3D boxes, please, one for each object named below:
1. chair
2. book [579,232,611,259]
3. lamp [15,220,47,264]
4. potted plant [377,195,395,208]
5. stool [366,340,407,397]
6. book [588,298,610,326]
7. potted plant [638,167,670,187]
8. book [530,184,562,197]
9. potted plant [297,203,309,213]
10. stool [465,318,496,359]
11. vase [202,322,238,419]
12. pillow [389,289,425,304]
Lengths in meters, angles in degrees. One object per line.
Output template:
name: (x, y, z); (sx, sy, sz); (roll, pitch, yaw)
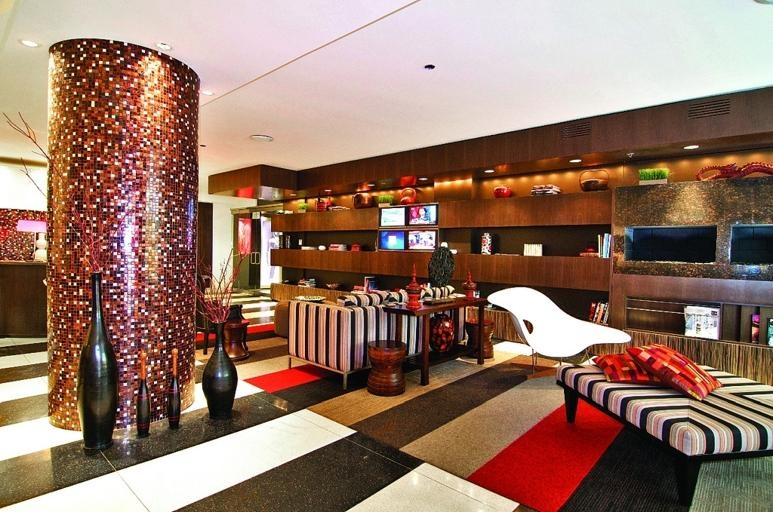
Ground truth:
chair: (2.160, 0.868, 6.470); (1.587, 0.637, 1.028); (5, 13, 37)
book: (3.102, -0.182, 7.531); (0.332, 0.368, 0.457); (2, 13, 3)
lamp: (-6.184, -0.310, 8.947); (0.376, 0.726, 1.991); (-8, 16, -34)
potted plant: (0.004, -1.078, 10.223); (0.314, 0.315, 0.255); (3, 4, 40)
stool: (0.126, 1.331, 6.083); (0.558, 0.575, 0.546); (1, -2, 10)
book: (3.117, 0.812, 7.610); (0.280, 0.442, 0.477); (5, -5, 6)
potted plant: (3.755, -1.076, 7.132); (0.333, 0.189, 0.299); (0, 0, 44)
book: (2.538, -1.049, 8.027); (0.446, 0.176, 0.530); (5, 13, 16)
potted plant: (-1.926, -1.103, 11.747); (0.201, 0.319, 0.350); (-3, 5, -45)
stool: (1.322, 1.148, 7.243); (0.533, 0.544, 0.510); (0, -1, -9)
vase: (-1.715, 1.158, 5.237); (0.329, 0.976, 0.294); (-4, 15, -22)
pillow: (0.210, 0.513, 6.705); (0.271, 0.096, 0.278); (3, 3, 23)
